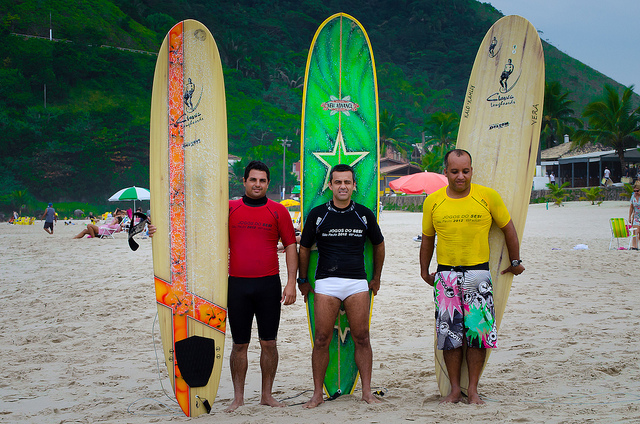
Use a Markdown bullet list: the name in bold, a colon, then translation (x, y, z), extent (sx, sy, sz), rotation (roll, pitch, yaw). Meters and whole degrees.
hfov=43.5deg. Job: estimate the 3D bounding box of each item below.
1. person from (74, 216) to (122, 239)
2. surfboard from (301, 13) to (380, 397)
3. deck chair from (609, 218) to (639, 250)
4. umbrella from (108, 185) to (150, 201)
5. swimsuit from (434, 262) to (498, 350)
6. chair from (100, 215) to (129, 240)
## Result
- **person**: translation (-7.747, 0.570, 27.632), extent (1.632, 1.036, 0.715), rotation (1, 4, -4)
- **surfboard**: translation (0.359, -0.080, 15.394), extent (1.424, 7.302, 0.679), rotation (0, 3, 4)
- **deck chair**: translation (7.909, 0.592, 20.951), extent (0.713, 1.041, 0.730), rotation (1, 2, 34)
- **umbrella**: translation (-7.061, -0.708, 30.314), extent (1.163, 0.521, 1.660), rotation (0, 0, -23)
- **swimsuit**: translation (2.640, 1.686, 14.696), extent (1.099, 1.631, 0.642), rotation (1, 11, 10)
- **chair**: translation (-7.142, 0.556, 27.766), extent (0.759, 0.810, 1.688), rotation (0, 0, -8)
